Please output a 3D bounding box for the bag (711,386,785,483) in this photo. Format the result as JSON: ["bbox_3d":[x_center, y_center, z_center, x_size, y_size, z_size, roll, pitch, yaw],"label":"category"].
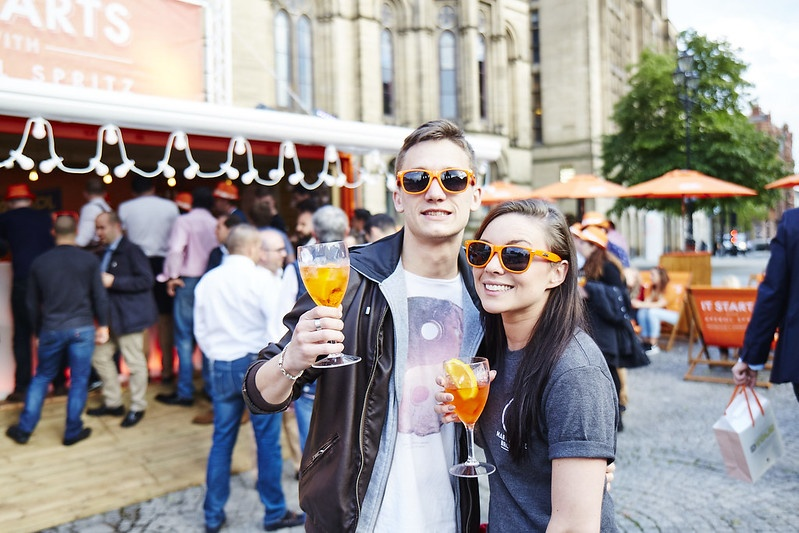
[{"bbox_3d":[3.246,1.551,7.420,0.643,0.834,0.318,-4,8,-33],"label":"bag"}]

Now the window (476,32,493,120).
[{"bbox_3d":[1.483,-3.436,14.715,0.358,1.771,0.091,-3,2,-36],"label":"window"}]

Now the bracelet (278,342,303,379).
[{"bbox_3d":[-0.911,0.782,6.612,0.181,0.266,0.077,4,4,9],"label":"bracelet"}]

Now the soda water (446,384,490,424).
[{"bbox_3d":[0.564,1.145,6.635,0.298,0.373,0.301,-2,-6,2],"label":"soda water"}]
